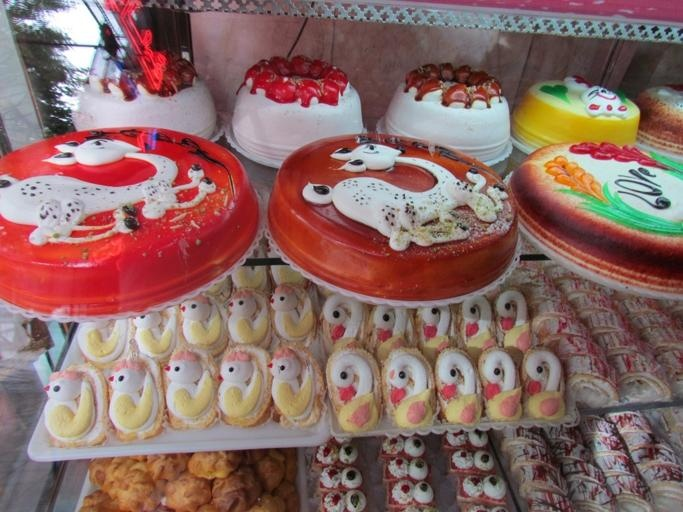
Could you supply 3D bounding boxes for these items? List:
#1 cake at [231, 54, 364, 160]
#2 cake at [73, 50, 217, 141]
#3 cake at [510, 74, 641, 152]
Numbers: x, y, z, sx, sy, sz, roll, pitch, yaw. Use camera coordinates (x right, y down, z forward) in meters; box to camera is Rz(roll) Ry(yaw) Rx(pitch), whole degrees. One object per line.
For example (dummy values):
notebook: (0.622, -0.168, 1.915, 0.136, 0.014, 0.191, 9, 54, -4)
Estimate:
cake: (-0.176, -0.672, 2.353, 0.602, 0.352, 0.584, 2, 37, -4)
cake: (-0.853, -0.664, 2.266, 0.576, 0.340, 0.564, 3, 34, 13)
cake: (1.080, -0.664, 2.433, 0.440, 0.224, 0.432, -24, 39, -27)
